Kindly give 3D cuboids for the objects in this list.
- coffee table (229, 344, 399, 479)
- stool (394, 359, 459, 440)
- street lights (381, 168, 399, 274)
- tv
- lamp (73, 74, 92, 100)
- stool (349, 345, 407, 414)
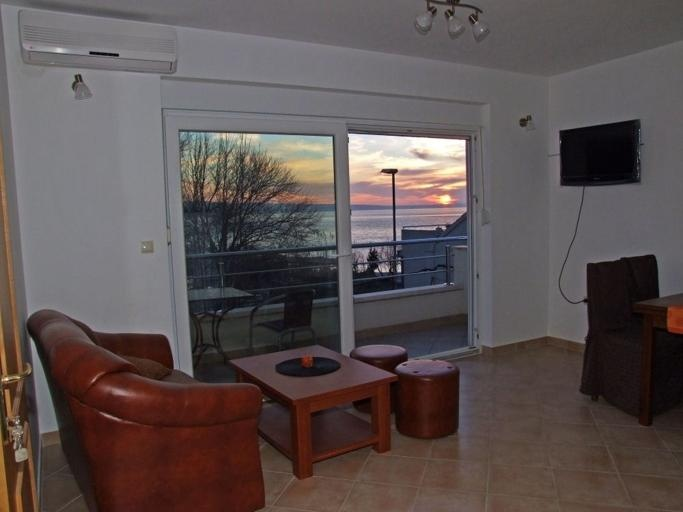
[{"bbox_3d":[-0.126,1.058,3.543,0.763,0.504,0.988,-2,5,-36],"label":"coffee table"},{"bbox_3d":[0.605,1.059,3.888,0.489,0.551,0.502,0,6,2],"label":"stool"},{"bbox_3d":[0.721,-0.573,7.560,0.279,1.510,0.996,-1,9,6],"label":"street lights"},{"bbox_3d":[2.712,-1.070,5.189,0.095,0.626,0.722,-10,11,-43],"label":"tv"},{"bbox_3d":[-1.886,-1.226,3.595,0.130,0.208,0.294,-6,10,-26],"label":"lamp"},{"bbox_3d":[0.285,1.010,4.290,0.470,0.496,0.519,0,3,-3],"label":"stool"}]
